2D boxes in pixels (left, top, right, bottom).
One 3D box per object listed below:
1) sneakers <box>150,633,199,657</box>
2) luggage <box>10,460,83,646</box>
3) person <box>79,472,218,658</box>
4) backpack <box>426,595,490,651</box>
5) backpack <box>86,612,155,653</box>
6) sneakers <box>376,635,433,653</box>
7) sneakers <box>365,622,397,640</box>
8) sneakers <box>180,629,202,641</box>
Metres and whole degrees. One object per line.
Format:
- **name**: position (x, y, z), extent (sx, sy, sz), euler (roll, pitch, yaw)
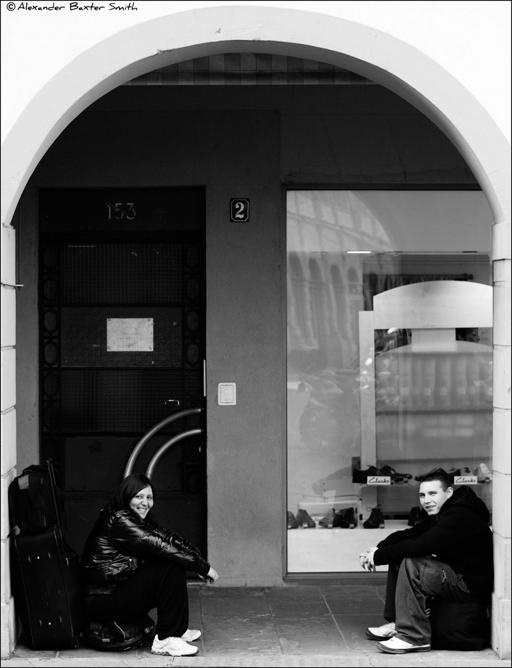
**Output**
- **sneakers**: position (-0.445, 1.682, 5.459), extent (0.237, 0.106, 0.101), euler (0, -3, 9)
- **luggage**: position (-1.139, 1.244, 5.434), extent (0.345, 0.967, 0.189), euler (-3, 4, -14)
- **person**: position (-0.597, 1.274, 5.537), extent (0.713, 0.972, 0.289), euler (-1, 4, 12)
- **backpack**: position (1.109, 1.573, 5.573), extent (0.282, 0.225, 0.289), euler (2, -4, -14)
- **backpack**: position (-0.751, 1.652, 5.537), extent (0.288, 0.127, 0.170), euler (5, -11, -11)
- **sneakers**: position (0.803, 1.672, 5.493), extent (0.266, 0.114, 0.102), euler (3, -5, -2)
- **sneakers**: position (0.700, 1.700, 5.756), extent (0.174, 0.072, 0.073), euler (0, 2, 4)
- **sneakers**: position (-0.364, 1.690, 5.615), extent (0.049, 0.073, 0.151), euler (1, 2, 32)
